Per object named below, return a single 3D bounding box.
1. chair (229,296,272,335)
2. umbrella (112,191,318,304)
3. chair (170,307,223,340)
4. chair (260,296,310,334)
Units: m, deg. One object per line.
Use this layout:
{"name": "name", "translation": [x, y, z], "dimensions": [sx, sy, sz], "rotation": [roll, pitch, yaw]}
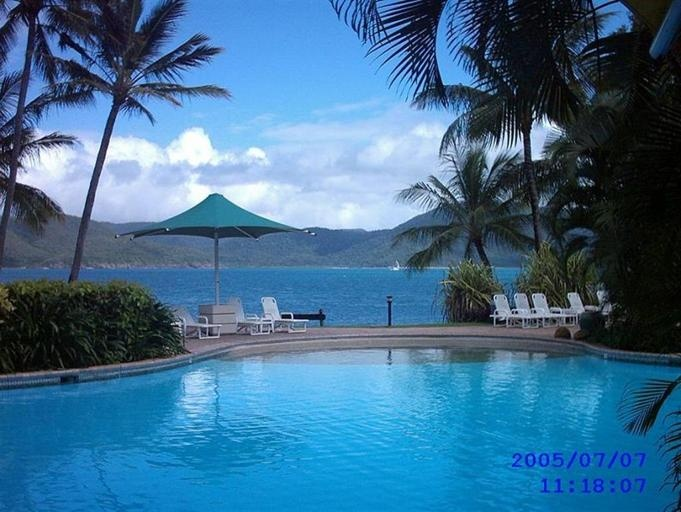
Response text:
{"name": "chair", "translation": [-2.875, 1.892, 17.464], "dimensions": [1.317, 1.013, 0.868], "rotation": [-1, -1, 45]}
{"name": "umbrella", "translation": [-3.585, -0.294, 16.302], "dimensions": [3.830, 3.315, 2.767], "rotation": [-1, -5, -21]}
{"name": "chair", "translation": [-4.101, 1.875, 15.810], "dimensions": [0.692, 0.782, 1.801], "rotation": [0, -3, -31]}
{"name": "chair", "translation": [-2.004, 1.999, 18.023], "dimensions": [1.678, 1.281, 1.225], "rotation": [-3, -3, 42]}
